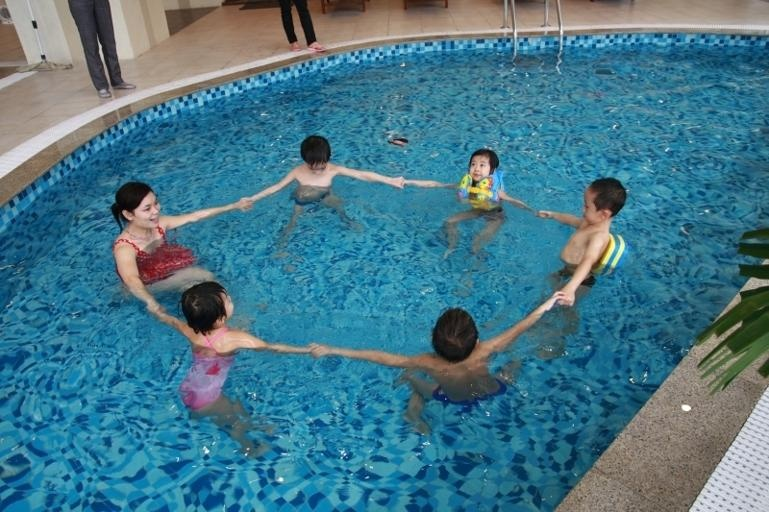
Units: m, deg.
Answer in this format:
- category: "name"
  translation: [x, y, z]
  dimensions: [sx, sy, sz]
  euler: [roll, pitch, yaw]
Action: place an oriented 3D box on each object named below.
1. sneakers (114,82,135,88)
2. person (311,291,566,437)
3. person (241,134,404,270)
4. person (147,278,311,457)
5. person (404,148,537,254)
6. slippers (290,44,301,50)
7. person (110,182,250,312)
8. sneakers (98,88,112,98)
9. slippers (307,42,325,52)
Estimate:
- category: "sneakers"
  translation: [-3.574, -2.350, 7.366]
  dimensions: [0.289, 0.072, 0.090]
  euler: [-4, 48, -10]
- category: "person"
  translation: [0.438, 0.618, 3.560]
  dimensions: [1.550, 0.793, 0.657]
  euler: [-13, 37, -16]
- category: "person"
  translation: [-0.642, -0.588, 5.117]
  dimensions: [1.579, 1.055, 0.486]
  euler: [-13, 42, -23]
- category: "person"
  translation: [-1.097, 0.806, 3.669]
  dimensions: [1.098, 0.883, 0.354]
  euler: [21, 40, 7]
- category: "person"
  translation: [0.890, -0.475, 4.859]
  dimensions: [1.378, 0.913, 0.486]
  euler: [18, 8, 40]
- category: "slippers"
  translation: [-1.447, -3.401, 8.651]
  dimensions: [0.099, 0.103, 0.260]
  euler: [-23, 34, -13]
- category: "person"
  translation: [-1.680, -0.044, 4.403]
  dimensions: [0.852, 0.691, 1.005]
  euler: [19, 44, -2]
- category: "sneakers"
  translation: [-3.687, -2.167, 7.095]
  dimensions: [0.213, 0.081, 0.105]
  euler: [26, 53, 23]
- category: "slippers"
  translation: [-1.082, -3.339, 8.509]
  dimensions: [0.299, 0.101, 0.126]
  euler: [2, 44, -1]
